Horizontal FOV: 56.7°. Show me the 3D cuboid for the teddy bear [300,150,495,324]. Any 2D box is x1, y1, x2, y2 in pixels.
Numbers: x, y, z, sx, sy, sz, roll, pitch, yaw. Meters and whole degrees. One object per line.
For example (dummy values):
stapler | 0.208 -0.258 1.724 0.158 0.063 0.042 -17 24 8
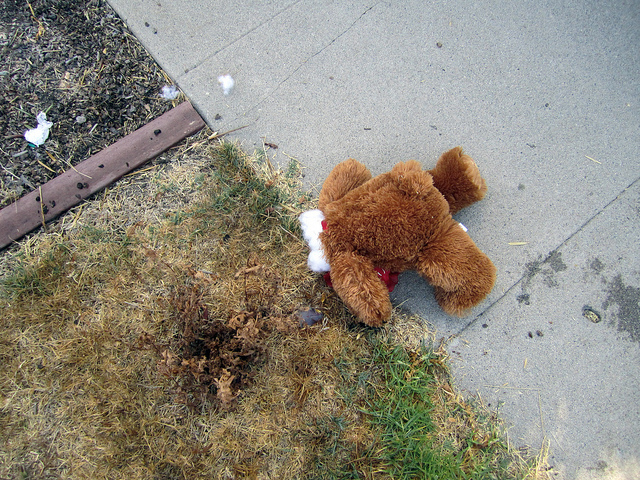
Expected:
teddy bear | 0.526 -0.007 3.946 1.120 0.531 1.251 -20 74 12
